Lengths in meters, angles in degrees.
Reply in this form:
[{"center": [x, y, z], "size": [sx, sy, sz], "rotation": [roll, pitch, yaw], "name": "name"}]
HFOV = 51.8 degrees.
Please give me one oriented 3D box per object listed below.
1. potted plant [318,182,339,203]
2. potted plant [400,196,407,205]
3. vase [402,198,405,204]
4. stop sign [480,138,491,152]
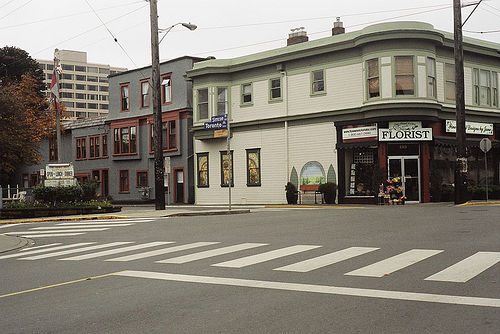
[{"center": [5.377, 1.739, 35.288], "size": [1.187, 1.376, 1.383], "rotation": [0, -6, -13], "name": "potted plant"}, {"center": [9.854, 2.107, 32.840], "size": [0.410, 0.793, 0.420], "rotation": [1, -3, 1], "name": "potted plant"}, {"center": [9.828, 2.139, 32.857], "size": [0.153, 0.345, 0.302], "rotation": [-1, 1, 16], "name": "vase"}, {"center": [14.593, -1.368, 31.788], "size": [0.505, 0.731, 0.704], "rotation": [0, 2, 39], "name": "stop sign"}]
